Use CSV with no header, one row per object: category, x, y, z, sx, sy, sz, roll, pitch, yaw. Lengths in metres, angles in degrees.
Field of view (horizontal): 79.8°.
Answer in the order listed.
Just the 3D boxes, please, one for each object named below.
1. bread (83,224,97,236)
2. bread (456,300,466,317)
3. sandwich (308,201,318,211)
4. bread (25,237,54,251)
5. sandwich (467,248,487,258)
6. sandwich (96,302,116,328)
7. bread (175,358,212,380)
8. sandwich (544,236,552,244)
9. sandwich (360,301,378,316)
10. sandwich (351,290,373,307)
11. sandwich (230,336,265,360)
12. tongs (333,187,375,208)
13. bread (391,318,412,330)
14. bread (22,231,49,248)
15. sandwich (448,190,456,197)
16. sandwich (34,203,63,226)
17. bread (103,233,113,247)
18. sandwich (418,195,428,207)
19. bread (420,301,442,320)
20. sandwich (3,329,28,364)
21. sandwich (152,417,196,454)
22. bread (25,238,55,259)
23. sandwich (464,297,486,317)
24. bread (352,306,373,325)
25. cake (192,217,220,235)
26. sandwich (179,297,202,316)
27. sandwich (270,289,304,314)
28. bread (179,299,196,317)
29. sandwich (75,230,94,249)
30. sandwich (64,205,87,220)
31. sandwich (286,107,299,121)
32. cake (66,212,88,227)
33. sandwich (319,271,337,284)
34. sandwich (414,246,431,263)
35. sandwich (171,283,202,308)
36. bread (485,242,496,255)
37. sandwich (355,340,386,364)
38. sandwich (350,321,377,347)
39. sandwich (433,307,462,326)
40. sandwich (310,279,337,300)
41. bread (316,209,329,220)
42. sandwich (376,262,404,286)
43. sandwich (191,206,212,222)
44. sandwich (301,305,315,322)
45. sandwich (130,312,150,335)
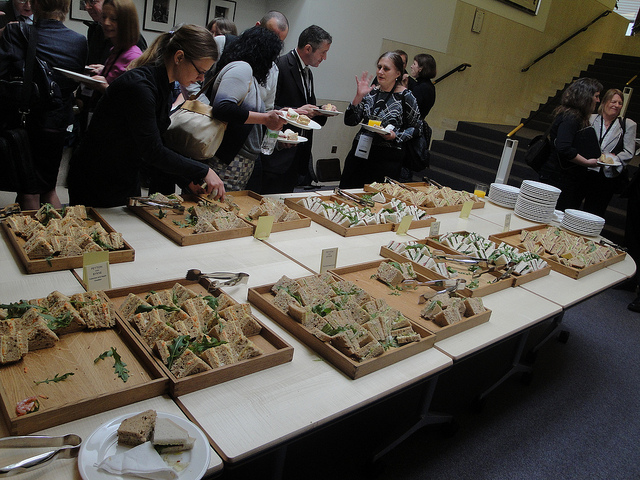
bread,-1.132,-0.049,1.891,0.043,0.013,0.042,-3,32,14
bread,0.677,0.330,1.844,0.020,0.071,0.063,3,54,47
sandwich,-0.062,-0.250,2.786,0.046,0.049,0.013,44,4,33
bread,-1.235,0.013,1.682,0.019,0.076,0.074,50,33,13
sandwich,1.051,0.096,2.546,0.066,0.019,0.072,-22,26,-29
sandwich,-0.759,0.272,1.381,0.061,0.025,0.081,-1,70,-34
bread,-0.404,0.408,1.209,0.065,0.017,0.064,5,21,10
sandwich,1.780,-0.003,3.008,0.047,0.012,0.050,7,38,6
sandwich,0.224,0.308,1.704,0.052,0.013,0.048,-6,35,-32
sandwich,0.189,0.268,1.761,0.070,0.021,0.071,-30,46,-32
sandwich,-0.260,0.375,1.329,0.080,0.026,0.082,-12,34,-36
tongs,0.244,-0.346,3.256,0.423,0.076,0.140,30,28,26
bread,0.340,0.363,1.619,0.058,0.014,0.042,-19,60,-25
bread,-1.282,0.008,1.739,0.081,0.021,0.079,-17,29,37
sandwich,1.265,-0.453,3.711,0.068,0.018,0.075,10,34,18
sandwich,-1.348,-0.125,1.914,0.125,0.056,0.091,-8,51,-15
bread,-1.034,-0.004,1.863,0.058,0.015,0.056,60,20,17
sandwich,0.913,-0.342,3.380,0.063,0.027,0.100,-1,28,-1
bread,0.526,0.339,1.829,0.075,0.076,0.030,39,-12,-9
sandwich,-0.922,0.328,1.147,0.083,0.080,0.022,5,-10,-35
sandwich,-0.367,0.487,0.956,0.078,0.021,0.077,18,24,-13
bread,-1.209,0.047,1.655,0.089,0.026,0.091,19,32,41
sandwich,0.747,0.327,1.862,0.101,0.027,0.095,-15,41,-19
bread,0.166,0.324,1.601,0.076,0.020,0.067,-39,75,0
cake,-0.668,-0.076,2.207,0.101,0.036,0.101,-24,52,-27
sandwich,-0.483,0.260,1.467,0.062,0.020,0.060,-15,60,-43
sandwich,-0.161,0.267,1.657,0.096,0.024,0.100,-37,63,-22
bread,-0.508,0.262,1.460,0.065,0.041,0.017,49,7,39
sandwich,-1.097,-0.008,1.792,0.083,0.028,0.084,20,26,18
sandwich,-1.281,-0.142,2.003,0.084,0.080,0.023,0,-5,-30
sandwich,-0.230,-1.001,3.048,0.109,0.040,0.110,28,37,20
cake,-1.231,-0.104,1.946,0.095,0.026,0.091,32,15,-4
sandwich,0.033,0.191,1.873,0.056,0.019,0.056,-18,43,-38
sandwich,0.616,0.090,2.334,0.081,0.024,0.086,-47,45,-11
sandwich,-0.552,0.233,1.539,0.087,0.032,0.087,26,41,31
bread,1.157,0.056,2.637,0.063,0.024,0.116,18,38,34
sandwich,0.184,0.427,1.447,0.102,0.029,0.058,-32,51,-18
sandwich,0.166,0.373,1.507,0.084,0.026,0.089,-9,44,-31
sandwich,0.592,0.355,1.767,0.101,0.040,0.077,-23,37,-32
sandwich,0.015,0.232,1.768,0.077,0.022,0.081,41,30,27
bread,0.018,-0.183,2.752,0.058,0.022,0.064,-46,60,-2
sandwich,0.366,0.186,2.123,0.099,0.057,0.129,20,17,-10
sandwich,-0.731,-0.172,2.349,0.094,0.024,0.088,4,46,-30
sandwich,-0.048,0.301,1.582,0.042,0.011,0.040,31,43,32
sandwich,-0.646,0.298,1.364,0.066,0.018,0.063,-27,58,12
